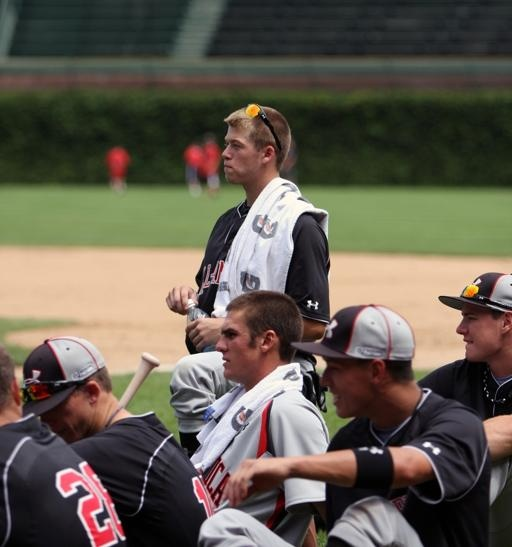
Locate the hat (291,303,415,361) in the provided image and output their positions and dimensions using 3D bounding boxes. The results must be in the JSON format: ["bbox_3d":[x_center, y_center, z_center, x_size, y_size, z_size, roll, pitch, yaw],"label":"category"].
[{"bbox_3d":[0.735,0.366,8.847,0.527,0.271,0.346,6,-2,7],"label":"hat"}]

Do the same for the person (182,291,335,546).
[{"bbox_3d":[0.038,1.015,9.344,0.621,1.742,0.823,13,-45,-9],"label":"person"}]

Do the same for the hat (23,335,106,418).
[{"bbox_3d":[-1.304,0.644,9.203,0.407,0.348,0.564,13,42,44],"label":"hat"}]
